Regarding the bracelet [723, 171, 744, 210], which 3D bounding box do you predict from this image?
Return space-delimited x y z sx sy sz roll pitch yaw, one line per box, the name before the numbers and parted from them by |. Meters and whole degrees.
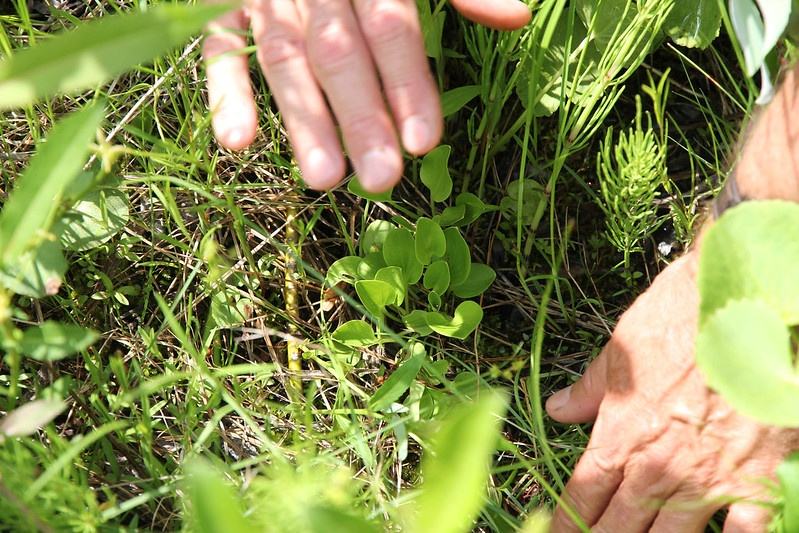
bracelet | 0.718 -0.159 1.337 0.025 0.054 0.085 0 51 9
